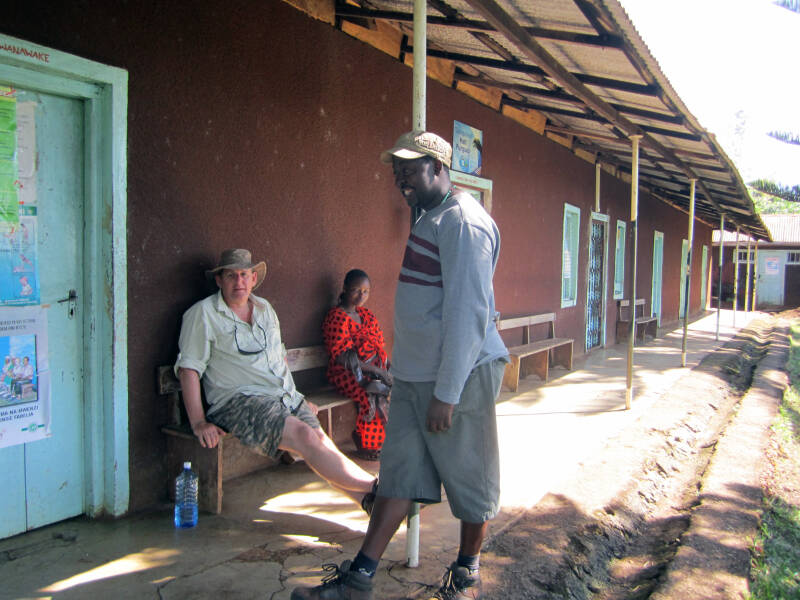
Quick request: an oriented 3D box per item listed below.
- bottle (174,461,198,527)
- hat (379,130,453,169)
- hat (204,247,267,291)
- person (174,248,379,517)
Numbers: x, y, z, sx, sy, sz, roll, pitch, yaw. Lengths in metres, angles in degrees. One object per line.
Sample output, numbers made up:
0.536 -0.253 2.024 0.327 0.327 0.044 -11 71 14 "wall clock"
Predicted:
-1.544 1.371 4.694 0.205 0.467 0.201 -3 2 0 "bottle"
0.134 -0.884 3.963 0.412 0.213 0.311 9 -8 -18 "hat"
-1.300 -0.318 5.148 0.412 0.171 0.390 -8 4 17 "hat"
-0.806 0.520 4.821 1.926 1.620 1.026 13 13 41 "person"
